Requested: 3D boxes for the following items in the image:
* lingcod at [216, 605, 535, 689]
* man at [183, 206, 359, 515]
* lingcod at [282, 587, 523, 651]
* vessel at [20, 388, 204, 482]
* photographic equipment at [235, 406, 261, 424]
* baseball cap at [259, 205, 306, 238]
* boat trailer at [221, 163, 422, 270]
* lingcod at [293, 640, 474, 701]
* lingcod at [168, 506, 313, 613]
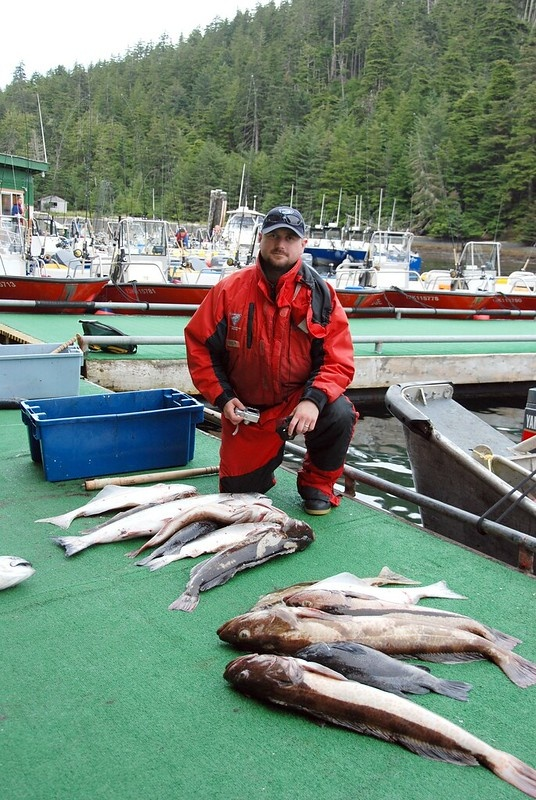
[{"bbox_3d":[0.358,0.735,2.059,1.080,0.229,0.329,7,21,-19],"label":"lingcod"},{"bbox_3d":[0.006,-0.166,3.178,0.869,1.501,0.522,5,15,7],"label":"man"},{"bbox_3d":[0.422,0.722,2.158,0.595,0.137,0.127,8,1,8],"label":"lingcod"},{"bbox_3d":[-0.850,0.213,3.770,0.995,0.331,0.506,-6,17,-23],"label":"vessel"},{"bbox_3d":[-0.099,0.077,3.136,0.116,0.095,0.183,3,13,-1],"label":"photographic equipment"},{"bbox_3d":[0.059,-0.842,3.074,0.153,0.174,0.182,4,-34,-6],"label":"baseball cap"},{"bbox_3d":[1.411,-4.712,17.919,5.900,2.264,1.671,3,17,-1],"label":"boat trailer"},{"bbox_3d":[0.312,0.771,1.870,0.348,0.068,0.127,9,-4,-8],"label":"lingcod"},{"bbox_3d":[-0.114,0.678,2.630,0.644,0.178,0.250,-23,37,-33],"label":"lingcod"}]
